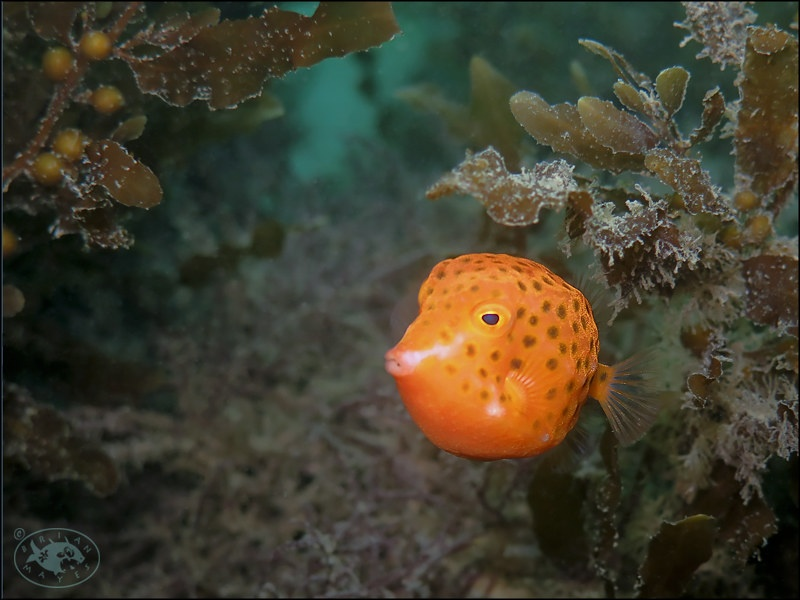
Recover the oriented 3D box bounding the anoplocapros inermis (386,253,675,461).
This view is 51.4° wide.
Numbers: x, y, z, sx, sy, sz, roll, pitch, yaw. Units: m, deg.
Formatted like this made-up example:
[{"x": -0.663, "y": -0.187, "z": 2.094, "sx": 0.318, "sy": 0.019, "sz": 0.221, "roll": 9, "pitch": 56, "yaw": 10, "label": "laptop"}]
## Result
[{"x": 0.262, "y": 0.130, "z": 1.818, "sx": 0.555, "sy": 0.342, "sz": 0.347, "roll": 3, "pitch": 99, "yaw": -32, "label": "anoplocapros inermis"}]
